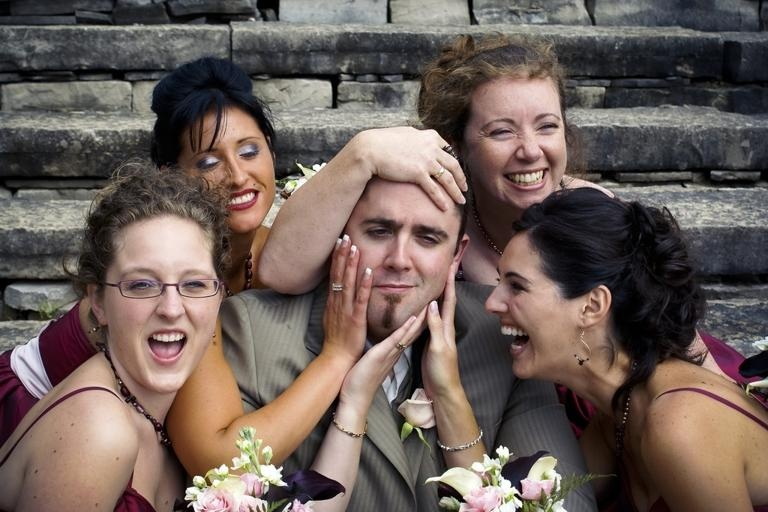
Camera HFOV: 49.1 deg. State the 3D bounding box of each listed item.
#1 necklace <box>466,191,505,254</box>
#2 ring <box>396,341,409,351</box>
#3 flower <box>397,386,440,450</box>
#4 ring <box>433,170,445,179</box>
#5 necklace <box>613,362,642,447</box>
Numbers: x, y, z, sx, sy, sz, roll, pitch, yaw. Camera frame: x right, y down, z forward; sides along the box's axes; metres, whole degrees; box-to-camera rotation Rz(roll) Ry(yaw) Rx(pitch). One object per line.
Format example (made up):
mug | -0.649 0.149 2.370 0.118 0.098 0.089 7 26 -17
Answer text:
necklace | 0.714 -0.216 6.072 0.099 0.440 0.311 -13 15 32
ring | 0.112 0.538 5.001 0.046 0.023 0.058 32 -9 -33
flower | 0.195 0.945 4.876 0.278 0.298 0.153 -1 -23 3
ring | 0.328 -0.485 4.982 0.052 0.015 0.055 -50 -5 -6
necklace | 1.395 0.897 4.858 0.080 0.549 0.069 16 -6 -22
